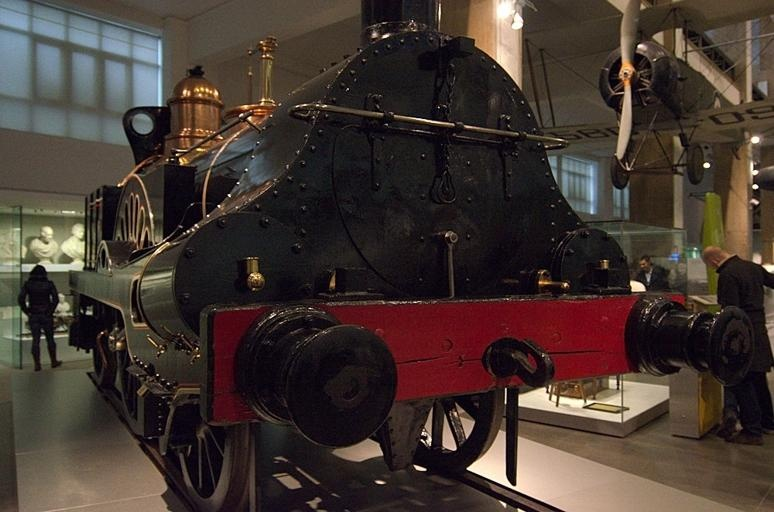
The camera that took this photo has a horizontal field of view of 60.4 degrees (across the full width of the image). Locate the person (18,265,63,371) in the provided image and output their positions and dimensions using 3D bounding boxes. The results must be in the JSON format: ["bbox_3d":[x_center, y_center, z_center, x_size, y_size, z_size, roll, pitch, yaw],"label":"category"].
[{"bbox_3d":[-6.400,1.118,12.321,0.655,1.943,0.442,-6,9,-31],"label":"person"}]

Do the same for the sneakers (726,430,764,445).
[{"bbox_3d":[4.447,2.226,8.322,0.424,0.197,0.180,-2,-5,38],"label":"sneakers"}]

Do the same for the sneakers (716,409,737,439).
[{"bbox_3d":[4.302,2.121,8.463,0.178,0.426,0.193,8,5,-7],"label":"sneakers"}]
